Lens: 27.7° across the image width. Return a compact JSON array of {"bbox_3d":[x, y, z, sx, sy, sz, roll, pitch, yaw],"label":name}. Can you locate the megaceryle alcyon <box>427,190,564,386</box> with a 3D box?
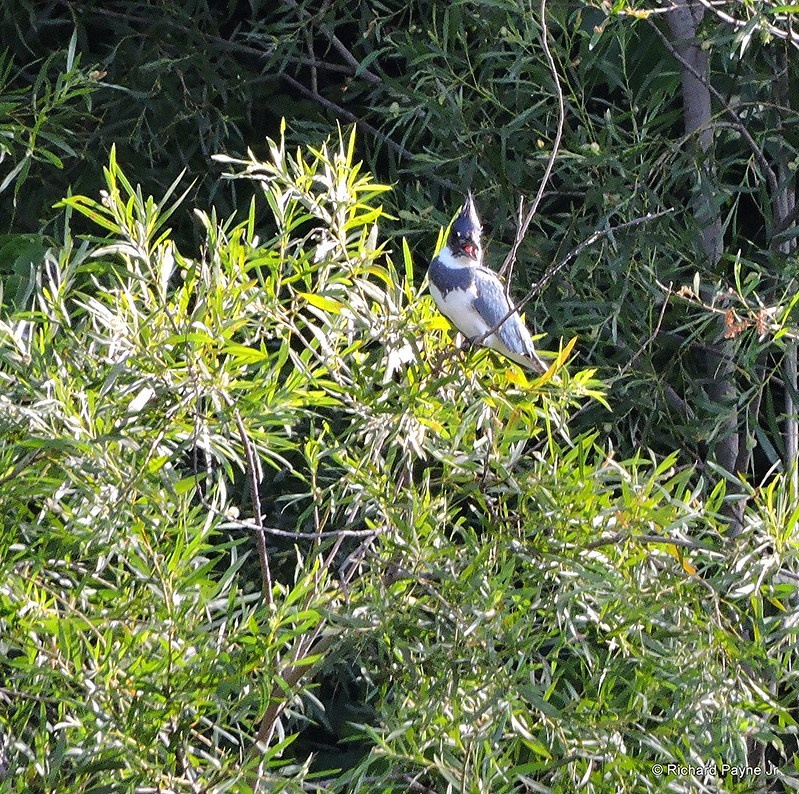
[{"bbox_3d":[0.115,-0.138,2.055,0.168,0.181,0.063,6,18,-25],"label":"megaceryle alcyon"}]
